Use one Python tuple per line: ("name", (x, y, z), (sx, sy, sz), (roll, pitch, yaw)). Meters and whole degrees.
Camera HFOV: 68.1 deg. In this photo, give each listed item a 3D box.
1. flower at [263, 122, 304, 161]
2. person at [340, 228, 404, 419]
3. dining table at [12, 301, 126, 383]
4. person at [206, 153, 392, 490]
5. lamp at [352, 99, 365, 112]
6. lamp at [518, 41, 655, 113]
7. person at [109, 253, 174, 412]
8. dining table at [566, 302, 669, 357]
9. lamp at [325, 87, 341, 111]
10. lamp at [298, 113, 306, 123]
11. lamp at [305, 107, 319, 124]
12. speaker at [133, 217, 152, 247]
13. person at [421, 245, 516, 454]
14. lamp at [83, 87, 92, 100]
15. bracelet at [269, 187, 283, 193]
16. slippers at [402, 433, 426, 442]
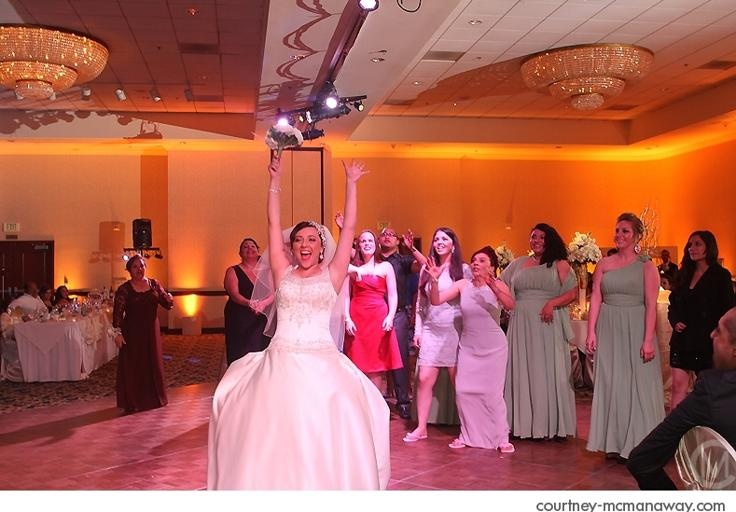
("flower", (-0.612, -0.850, 4.027), (0.372, 0.242, 0.370), (4, 10, -18))
("person", (0.044, 0.700, 6.083), (0.676, 1.780, 0.630), (-1, 8, 3))
("dining table", (-5.442, 1.539, 9.729), (1.312, 1.102, 2.503), (-1, 0, -13))
("person", (-0.436, 0.422, 3.501), (1.174, 2.111, 0.678), (-1, 0, -12))
("lamp", (-0.171, -2.892, 10.501), (0.204, 0.206, 0.232), (-3, 17, -7))
("lamp", (3.648, -3.078, 9.141), (1.379, 0.558, 1.385), (1, -11, -4))
("person", (-2.851, 0.977, 6.877), (0.631, 1.929, 0.191), (-1, 0, -23))
("dining table", (3.273, 0.912, 7.410), (0.962, 1.091, 0.998), (0, -6, -6))
("lamp", (-0.623, -2.754, 9.485), (0.341, 0.432, 0.482), (-1, 0, -3))
("lamp", (-1.255, -2.689, 10.623), (0.036, 0.146, 0.151), (-18, 26, -38))
("lamp", (-1.068, -2.636, 10.307), (0.231, 0.227, 0.058), (12, 21, 37))
("speaker", (-5.760, -0.570, 13.832), (0.668, 0.750, 0.322), (-1, 0, 23))
("person", (1.055, 0.905, 5.434), (0.776, 2.044, 0.551), (-1, 0, 14))
("lamp", (-5.606, -3.261, 10.883), (0.164, 0.158, 0.255), (-4, -32, -17))
("bracelet", (-0.642, -0.459, 3.766), (0.064, 0.049, 0.048), (-1, -6, 35))
("slippers", (0.498, 1.865, 5.621), (0.194, 0.047, 0.099), (2, -6, -9))
